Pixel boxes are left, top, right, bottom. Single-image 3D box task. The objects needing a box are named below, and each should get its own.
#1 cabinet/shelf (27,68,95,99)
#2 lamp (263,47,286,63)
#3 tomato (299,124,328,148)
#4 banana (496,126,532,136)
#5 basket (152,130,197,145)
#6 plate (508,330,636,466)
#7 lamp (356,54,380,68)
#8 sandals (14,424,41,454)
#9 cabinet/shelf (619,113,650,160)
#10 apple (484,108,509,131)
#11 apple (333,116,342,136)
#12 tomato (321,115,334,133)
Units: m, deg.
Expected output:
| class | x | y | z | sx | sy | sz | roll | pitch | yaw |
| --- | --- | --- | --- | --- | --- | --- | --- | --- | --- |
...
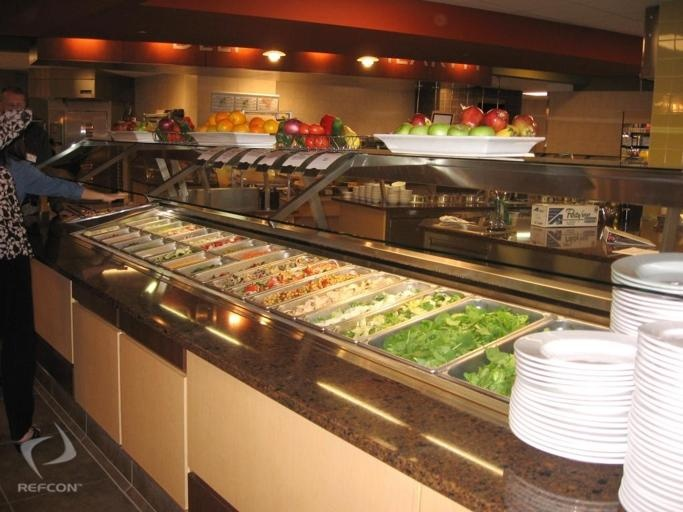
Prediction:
| class | x | y | z | sx | sy | sz | roll | pitch | yaw |
| --- | --- | --- | --- | --- | --- | --- | --- | --- | --- |
| cabinet/shelf | -4.133 | -2.556 | 7.570 | 0.957 | 0.363 | 0.588 | -1 | 6 | 1 |
| lamp | -0.852 | -2.476 | 6.341 | 0.259 | 0.101 | 0.247 | 3 | 8 | 30 |
| tomato | -0.125 | -0.514 | 2.217 | 0.105 | 0.062 | 0.132 | 0 | 21 | -23 |
| banana | 0.563 | -0.394 | 1.661 | 0.113 | 0.036 | 0.055 | -7 | 9 | -28 |
| basket | -0.987 | -0.689 | 2.969 | 0.132 | 0.076 | 0.539 | -7 | 16 | -30 |
| plate | 0.511 | 0.252 | 1.062 | 0.287 | 0.140 | 0.275 | -4 | 9 | -37 |
| lamp | 0.333 | -2.506 | 6.601 | 0.361 | 0.141 | 0.323 | -3 | 12 | -14 |
| sandals | -1.672 | 0.970 | 2.731 | 0.049 | 0.058 | 0.137 | -5 | 2 | 31 |
| cabinet/shelf | 4.260 | -1.718 | 7.380 | 0.375 | 0.657 | 0.762 | 8 | 16 | 21 |
| apple | 0.495 | -0.426 | 1.648 | 0.087 | 0.072 | 0.079 | 1 | 2 | 14 |
| apple | -0.015 | -0.555 | 2.195 | 0.040 | 0.068 | 0.038 | -2 | -9 | -39 |
| tomato | -0.063 | -0.571 | 2.237 | 0.065 | 0.082 | 0.156 | 1 | 14 | -3 |
